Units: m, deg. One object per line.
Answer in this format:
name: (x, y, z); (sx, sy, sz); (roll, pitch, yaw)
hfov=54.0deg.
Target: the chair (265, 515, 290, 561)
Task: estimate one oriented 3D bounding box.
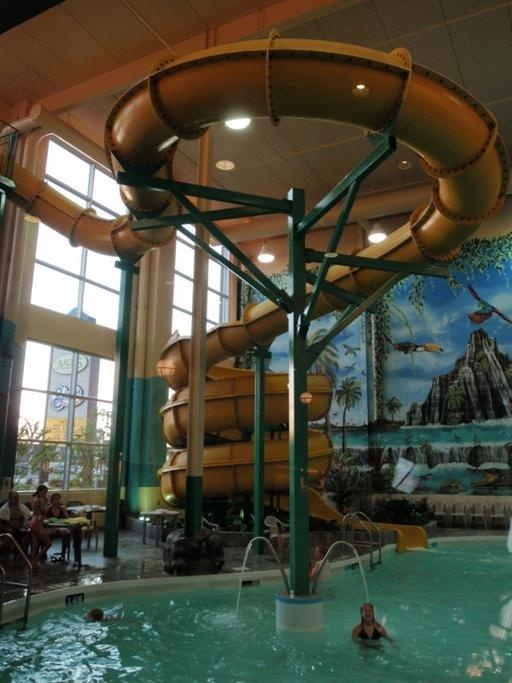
chair: (0.449, 3.691, 9.607); (0.524, 0.569, 0.515); (4, -9, 5)
